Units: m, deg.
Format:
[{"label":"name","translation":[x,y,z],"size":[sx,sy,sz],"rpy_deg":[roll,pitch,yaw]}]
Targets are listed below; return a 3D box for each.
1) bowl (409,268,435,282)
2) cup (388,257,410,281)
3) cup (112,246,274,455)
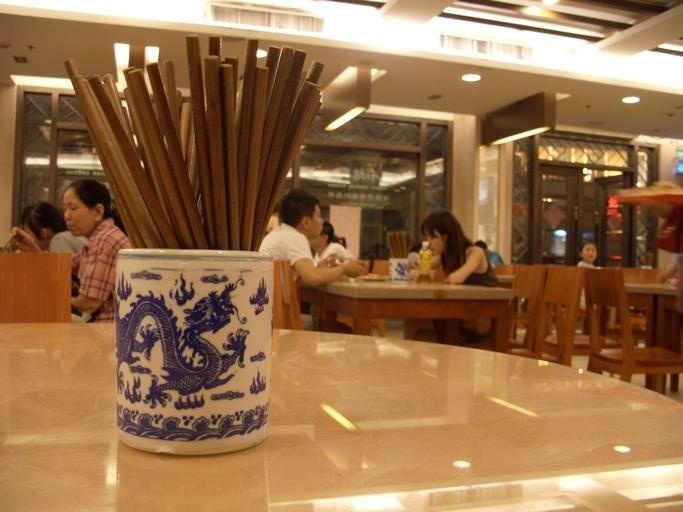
[{"label":"bowl","translation":[0.430,0.108,3.062],"size":[0.112,0.122,0.122],"rpy_deg":[-1,1,0]},{"label":"cup","translation":[0.283,0.066,2.918],"size":[0.101,0.115,0.102],"rpy_deg":[0,-2,0]},{"label":"cup","translation":[-0.141,0.065,0.520],"size":[0.145,0.166,0.147],"rpy_deg":[6,8,-1]}]
